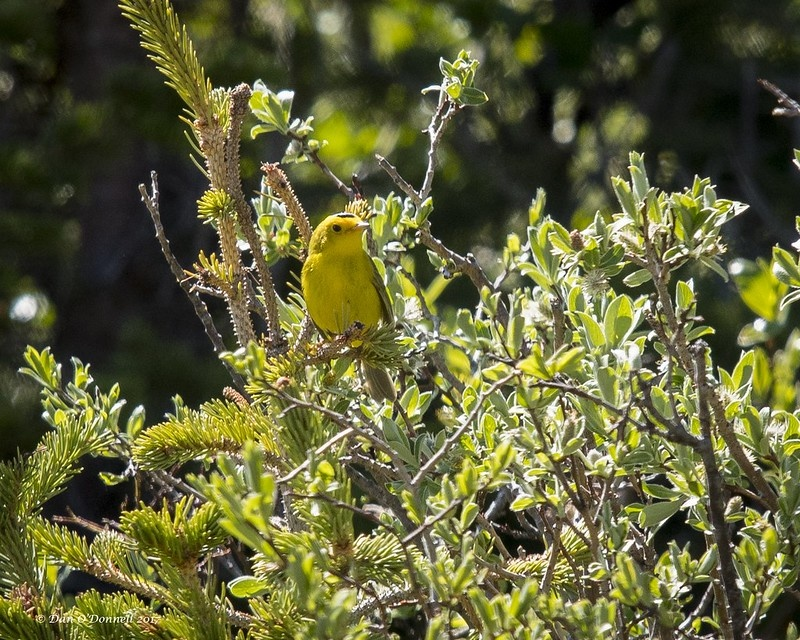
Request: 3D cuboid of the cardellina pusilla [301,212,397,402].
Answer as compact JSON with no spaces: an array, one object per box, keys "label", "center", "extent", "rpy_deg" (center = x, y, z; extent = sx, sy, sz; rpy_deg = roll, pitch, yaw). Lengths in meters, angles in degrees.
[{"label":"cardellina pusilla","center":[-0.254,-0.016,7.486],"extent":[0.389,1.239,0.520],"rpy_deg":[-10,36,-5]}]
